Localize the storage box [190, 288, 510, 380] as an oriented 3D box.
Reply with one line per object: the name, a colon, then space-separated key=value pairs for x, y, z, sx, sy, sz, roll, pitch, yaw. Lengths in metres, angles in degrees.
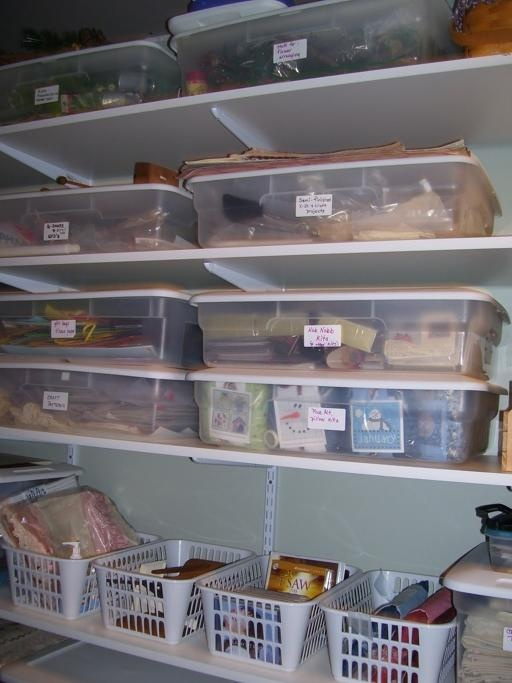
storage box: x=0.133 y=-0.018 z=1.022 sx=0.543 sy=0.155 sz=0.082 roll=3 pitch=6 yaw=25

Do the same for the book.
book: x=0.047 y=0.503 z=1.075 sx=0.176 sy=0.087 sz=0.222 roll=-4 pitch=-11 yaw=29
